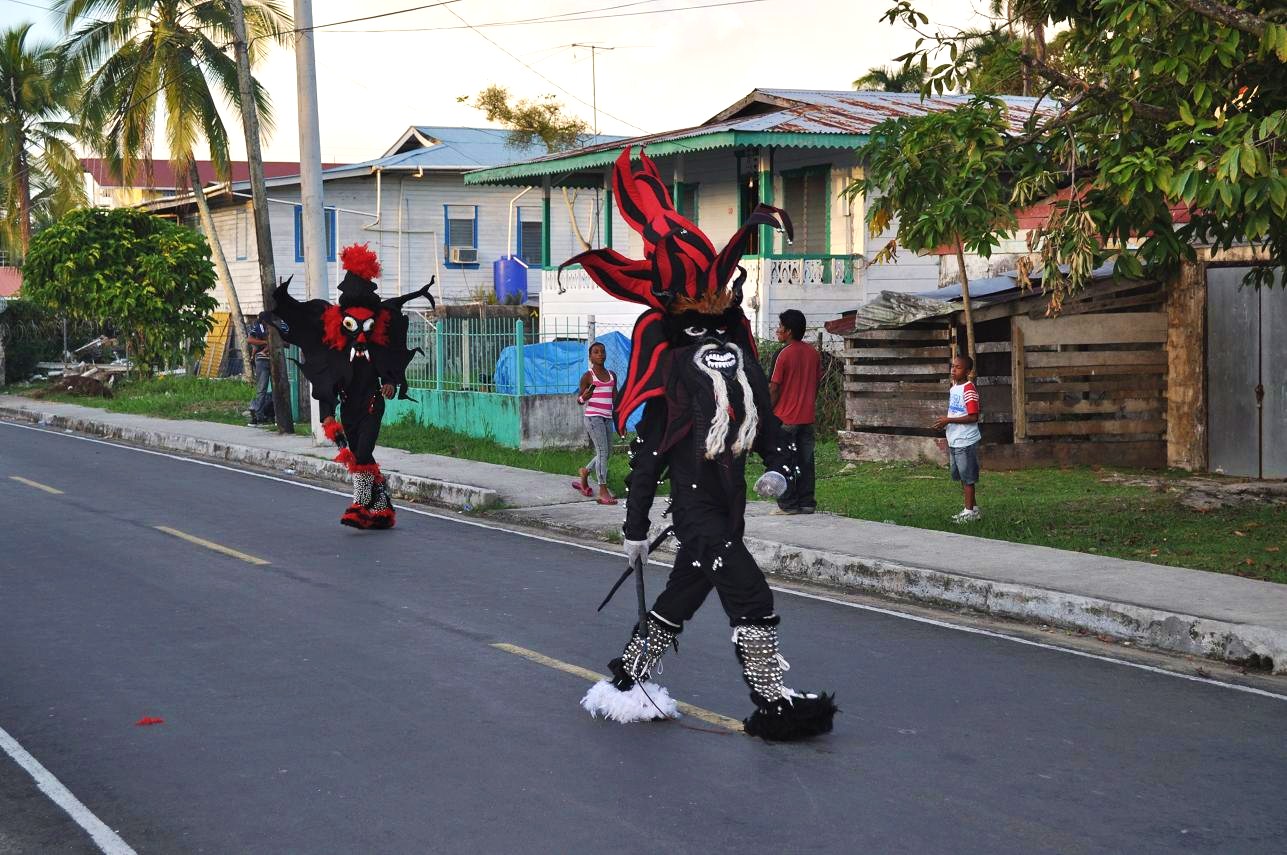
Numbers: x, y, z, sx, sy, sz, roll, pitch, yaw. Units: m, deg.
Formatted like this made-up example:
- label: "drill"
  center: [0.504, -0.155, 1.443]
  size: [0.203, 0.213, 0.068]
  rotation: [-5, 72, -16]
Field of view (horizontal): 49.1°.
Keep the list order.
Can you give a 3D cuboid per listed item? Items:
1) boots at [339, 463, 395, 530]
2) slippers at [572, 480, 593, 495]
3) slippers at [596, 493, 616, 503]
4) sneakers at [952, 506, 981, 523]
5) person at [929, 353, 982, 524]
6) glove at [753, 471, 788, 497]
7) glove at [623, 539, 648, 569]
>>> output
- label: "boots"
  center: [-3.235, 0.825, 16.575]
  size: [0.342, 0.814, 0.724]
  rotation: [7, 12, 39]
- label: "slippers"
  center: [-0.836, 0.770, 18.557]
  size: [0.123, 0.132, 0.325]
  rotation: [16, 14, -43]
- label: "slippers"
  center: [-0.485, 0.904, 18.056]
  size: [0.230, 0.169, 0.100]
  rotation: [-9, -9, 42]
- label: "sneakers"
  center: [3.713, 1.008, 16.136]
  size: [0.375, 0.181, 0.142]
  rotation: [-1, 1, -3]
- label: "person"
  center: [3.751, 0.104, 16.532]
  size: [0.489, 1.925, 1.357]
  rotation: [2, 10, 12]
- label: "glove"
  center: [0.929, 0.469, 10.267]
  size: [0.182, 0.195, 0.144]
  rotation: [18, 37, 9]
- label: "glove"
  center: [-0.045, 0.929, 10.504]
  size: [0.186, 0.174, 0.155]
  rotation: [5, -1, 0]
